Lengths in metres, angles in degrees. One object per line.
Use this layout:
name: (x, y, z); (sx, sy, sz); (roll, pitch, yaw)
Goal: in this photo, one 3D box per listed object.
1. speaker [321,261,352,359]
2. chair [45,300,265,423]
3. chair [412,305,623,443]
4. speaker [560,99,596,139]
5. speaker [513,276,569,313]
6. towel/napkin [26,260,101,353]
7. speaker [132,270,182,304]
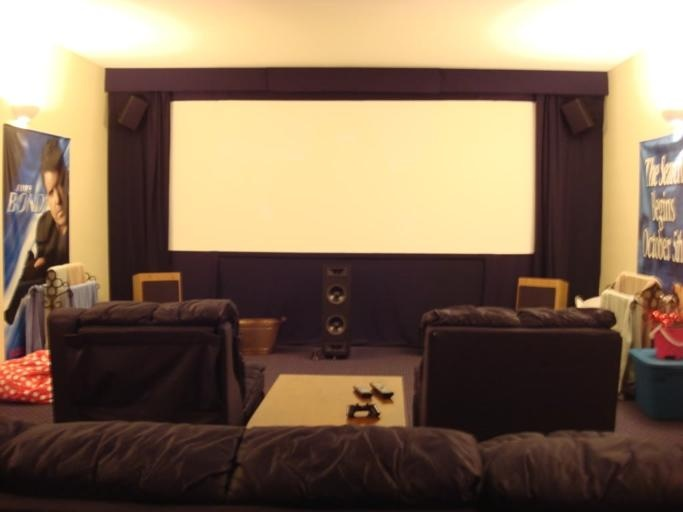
speaker: (-0.055, 0.543, 5.675); (0.262, 0.898, 0.198); (-1, 11, -9)
chair: (-1.037, 0.553, 3.366); (0.725, 0.883, 0.809); (2, 4, 4)
chair: (1.084, 0.689, 3.479); (1.046, 0.987, 0.600); (-1, 18, 18)
speaker: (2.519, -1.473, 6.046); (0.381, 0.390, 0.237); (3, 12, 11)
speaker: (2.049, 0.388, 5.847); (0.334, 0.333, 0.207); (9, 11, 14)
towel/napkin: (-2.112, 0.380, 4.250); (0.337, 0.739, 0.730); (4, 2, 11)
speaker: (-1.937, 0.332, 6.052); (0.533, 0.553, 0.296); (-1, -1, -15)
